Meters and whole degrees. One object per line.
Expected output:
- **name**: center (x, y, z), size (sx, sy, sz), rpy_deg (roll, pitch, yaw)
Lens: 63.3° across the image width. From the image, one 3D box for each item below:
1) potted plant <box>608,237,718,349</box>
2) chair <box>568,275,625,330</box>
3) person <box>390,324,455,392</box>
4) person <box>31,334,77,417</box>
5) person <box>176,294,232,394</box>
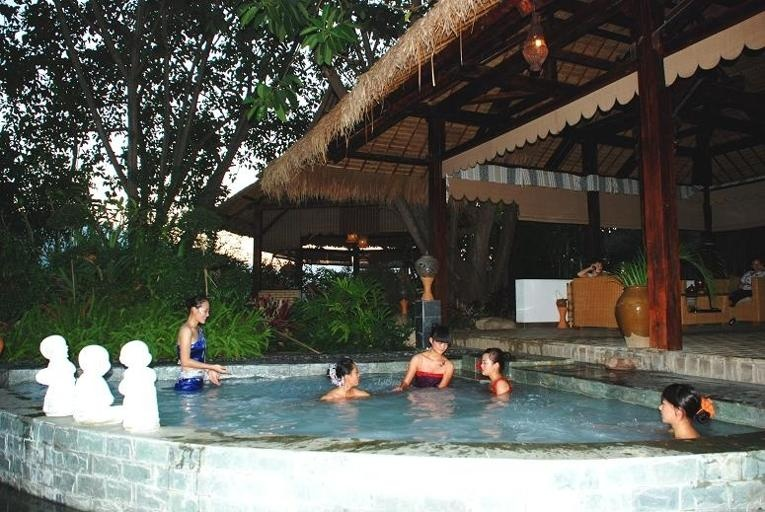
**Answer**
- **potted plant**: center (3.781, 0.622, 8.458), size (1.165, 1.759, 1.434), rpy_deg (2, -10, 13)
- **chair**: center (3.814, 0.829, 11.097), size (0.814, 1.001, 0.886), rpy_deg (1, -1, 8)
- **person**: center (0.637, 1.449, 8.198), size (0.690, 1.186, 0.800), rpy_deg (13, -13, 6)
- **person**: center (-2.976, 1.108, 5.685), size (0.309, 0.628, 0.685), rpy_deg (-4, 6, -30)
- **person**: center (-2.335, 1.093, 7.955), size (0.627, 1.220, 0.617), rpy_deg (-3, 6, -18)
